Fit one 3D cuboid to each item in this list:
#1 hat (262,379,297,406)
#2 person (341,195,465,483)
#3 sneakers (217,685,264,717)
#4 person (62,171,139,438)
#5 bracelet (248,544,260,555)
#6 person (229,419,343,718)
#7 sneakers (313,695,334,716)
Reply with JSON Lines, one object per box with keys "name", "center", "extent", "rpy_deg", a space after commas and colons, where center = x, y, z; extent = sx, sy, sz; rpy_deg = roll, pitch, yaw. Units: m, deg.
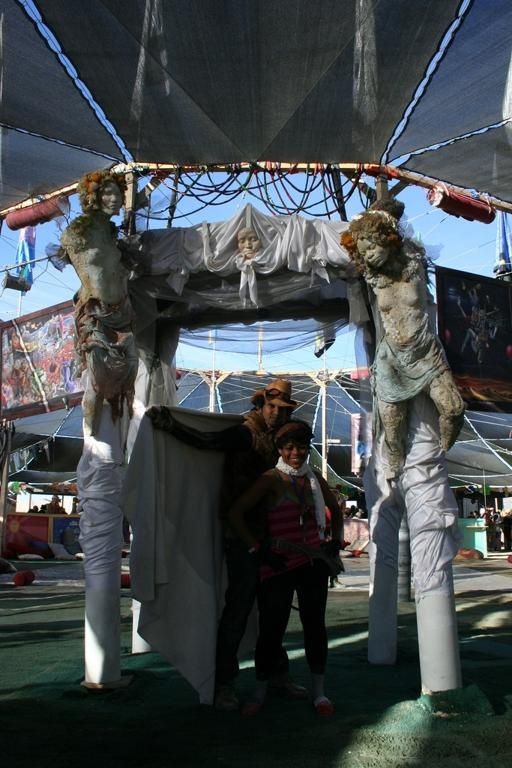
{"name": "hat", "center": [0.148, 0.087, 4.047], "extent": [0.161, 0.105, 0.202], "rpy_deg": [7, -43, 9]}
{"name": "person", "center": [0.913, -0.283, 3.746], "extent": [0.589, 1.718, 0.391], "rpy_deg": [-3, -7, 9]}
{"name": "sneakers", "center": [-0.092, 1.793, 3.471], "extent": [0.116, 0.208, 0.316], "rpy_deg": [-12, -43, 20]}
{"name": "person", "center": [-1.102, -0.534, 4.266], "extent": [0.502, 1.784, 0.560], "rpy_deg": [0, -7, -16]}
{"name": "bracelet", "center": [-0.010, 0.945, 3.522], "extent": [0.048, 0.065, 0.067], "rpy_deg": [20, -8, 20]}
{"name": "person", "center": [0.205, 1.032, 3.673], "extent": [0.604, 1.616, 0.552], "rpy_deg": [-3, -7, 8]}
{"name": "sneakers", "center": [0.365, 1.764, 3.363], "extent": [0.130, 0.077, 0.205], "rpy_deg": [1, -12, 3]}
